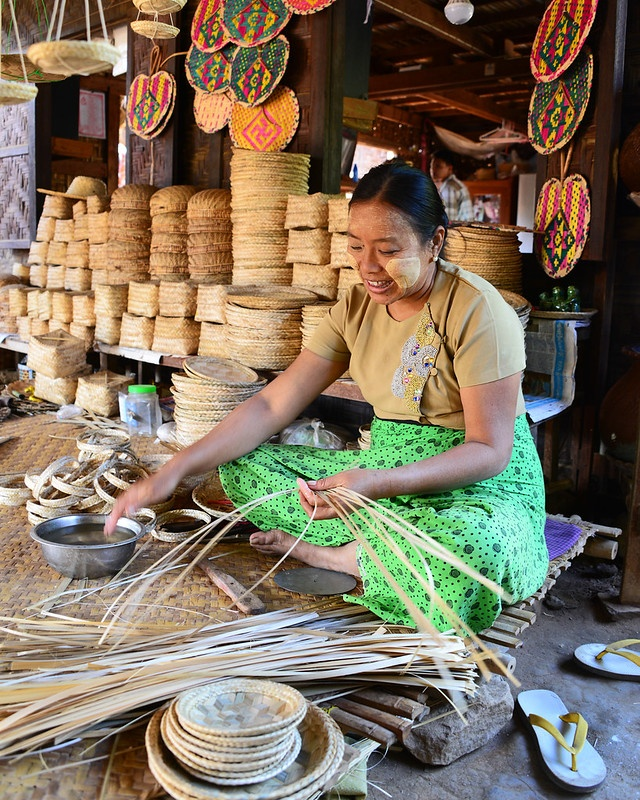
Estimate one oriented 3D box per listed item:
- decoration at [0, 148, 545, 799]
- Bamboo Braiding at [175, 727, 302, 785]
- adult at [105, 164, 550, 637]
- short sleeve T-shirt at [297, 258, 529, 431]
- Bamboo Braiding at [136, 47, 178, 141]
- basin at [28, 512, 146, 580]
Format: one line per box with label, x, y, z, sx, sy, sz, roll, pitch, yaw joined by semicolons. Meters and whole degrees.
decoration;-0.065;0.041;1.802;1.377;1.012;1.077;2;1;-35
Bamboo Braiding;-0.123;0.513;0.975;0.119;0.021;0.108;2;7;-16
adult;0.255;0.008;2.039;1.232;1.103;1.222;-5;9;-36
short sleeve T-shirt;0.284;-0.132;1.854;0.376;0.454;0.678;-20;22;-32
Bamboo Braiding;-1.180;-2.129;4.738;0.461;0.559;0.094;7;4;44
basin;-0.574;0.380;1.730;0.325;0.096;0.242;4;11;-6
